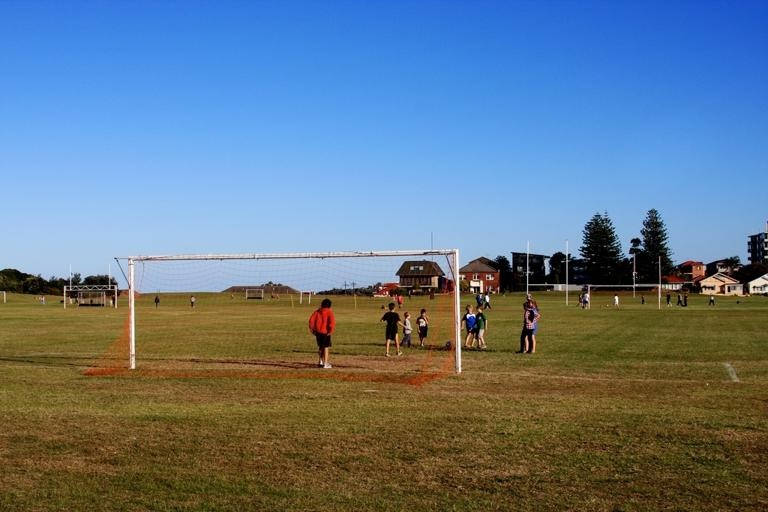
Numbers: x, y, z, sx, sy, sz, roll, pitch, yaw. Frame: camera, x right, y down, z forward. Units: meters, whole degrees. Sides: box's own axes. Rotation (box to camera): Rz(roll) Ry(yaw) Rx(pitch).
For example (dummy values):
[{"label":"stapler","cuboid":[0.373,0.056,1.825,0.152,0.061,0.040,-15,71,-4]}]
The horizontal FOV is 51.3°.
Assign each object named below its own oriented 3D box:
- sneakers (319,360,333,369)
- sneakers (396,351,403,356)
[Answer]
[{"label":"sneakers","cuboid":[-1.934,3.570,26.207,0.494,0.185,0.201,-1,1,42]},{"label":"sneakers","cuboid":[0.555,3.634,29.887,0.143,0.172,0.193,1,-14,4]}]
